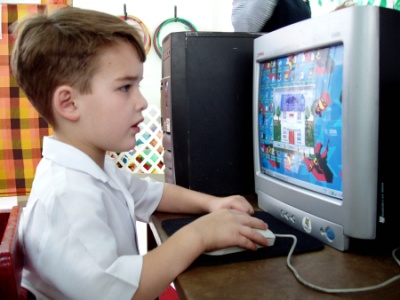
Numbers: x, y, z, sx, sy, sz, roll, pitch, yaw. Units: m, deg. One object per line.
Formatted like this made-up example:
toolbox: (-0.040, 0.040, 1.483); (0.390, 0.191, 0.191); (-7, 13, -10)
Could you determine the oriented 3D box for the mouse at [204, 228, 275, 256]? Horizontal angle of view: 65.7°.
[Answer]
mouse: (0.090, 0.185, 0.672); (0.119, 0.023, 0.061); (-7, 1, -10)
